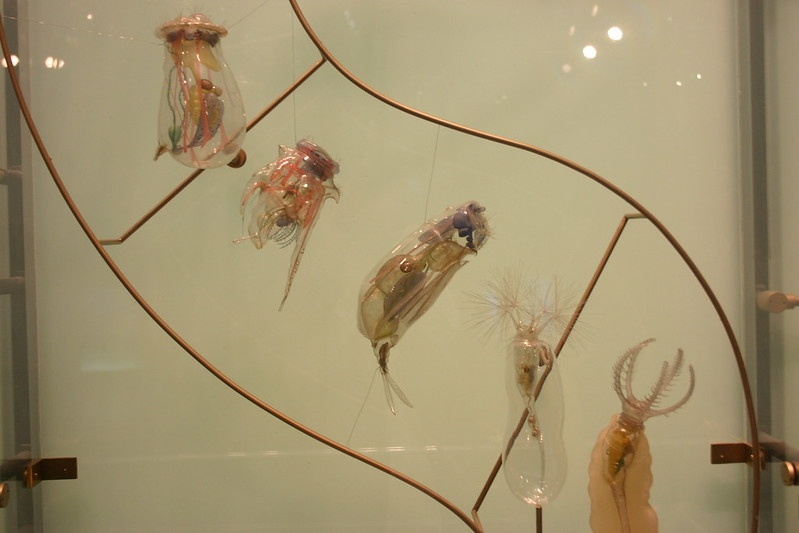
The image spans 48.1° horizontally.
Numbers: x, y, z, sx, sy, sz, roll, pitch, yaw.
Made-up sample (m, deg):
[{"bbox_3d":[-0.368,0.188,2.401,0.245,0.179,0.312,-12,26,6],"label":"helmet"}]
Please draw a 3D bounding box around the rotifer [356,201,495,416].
[{"bbox_3d":[0.055,0.099,2.802,0.270,0.175,0.594,22,-79,11],"label":"rotifer"}]

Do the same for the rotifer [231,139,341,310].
[{"bbox_3d":[-0.309,-0.236,2.717,0.221,0.449,0.279,-22,-43,23],"label":"rotifer"}]
